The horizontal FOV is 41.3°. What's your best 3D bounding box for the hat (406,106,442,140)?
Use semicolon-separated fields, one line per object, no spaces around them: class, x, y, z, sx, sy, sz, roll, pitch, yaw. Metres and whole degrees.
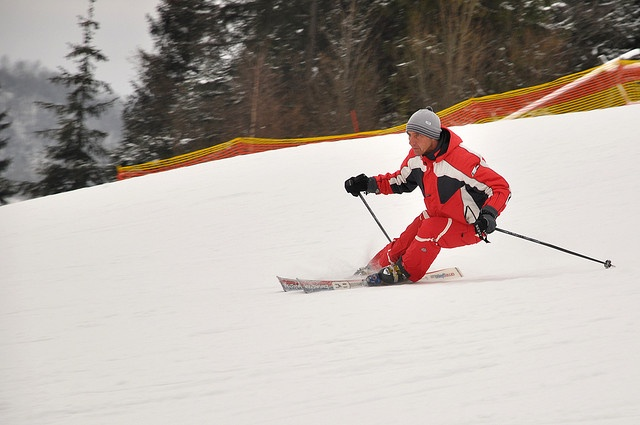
hat;1.551;-1.349;12.970;0.547;0.425;0.506;22;6;-4
